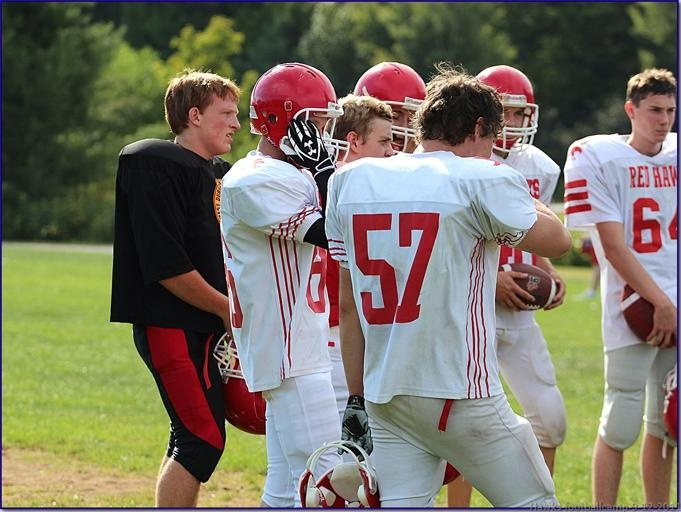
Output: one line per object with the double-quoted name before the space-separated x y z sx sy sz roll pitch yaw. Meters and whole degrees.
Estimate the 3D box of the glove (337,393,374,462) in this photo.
"glove" 0.076 1.191 7.352 0.218 0.399 0.097 4 3 23

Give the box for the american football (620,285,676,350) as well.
"american football" 2.395 0.486 8.657 0.277 0.472 0.375 -38 -1 23

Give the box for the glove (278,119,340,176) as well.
"glove" -0.244 -0.787 7.731 0.322 0.438 0.141 -28 -8 9

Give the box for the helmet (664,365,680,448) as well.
"helmet" 2.625 1.199 8.580 0.111 0.571 0.292 3 12 13

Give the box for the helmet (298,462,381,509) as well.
"helmet" -0.026 1.594 7.362 0.332 0.378 0.421 0 7 22

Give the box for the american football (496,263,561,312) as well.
"american football" 1.479 0.286 8.701 0.551 0.348 0.383 3 7 -1
